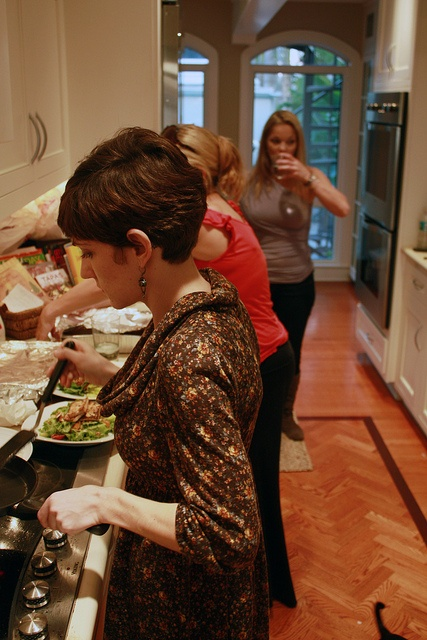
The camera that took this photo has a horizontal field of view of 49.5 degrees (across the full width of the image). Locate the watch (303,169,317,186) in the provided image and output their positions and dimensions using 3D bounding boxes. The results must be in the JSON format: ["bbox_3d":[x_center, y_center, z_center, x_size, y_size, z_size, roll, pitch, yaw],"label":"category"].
[{"bbox_3d":[0.563,-0.850,2.778,0.082,0.055,0.077,-32,-12,-13],"label":"watch"}]
